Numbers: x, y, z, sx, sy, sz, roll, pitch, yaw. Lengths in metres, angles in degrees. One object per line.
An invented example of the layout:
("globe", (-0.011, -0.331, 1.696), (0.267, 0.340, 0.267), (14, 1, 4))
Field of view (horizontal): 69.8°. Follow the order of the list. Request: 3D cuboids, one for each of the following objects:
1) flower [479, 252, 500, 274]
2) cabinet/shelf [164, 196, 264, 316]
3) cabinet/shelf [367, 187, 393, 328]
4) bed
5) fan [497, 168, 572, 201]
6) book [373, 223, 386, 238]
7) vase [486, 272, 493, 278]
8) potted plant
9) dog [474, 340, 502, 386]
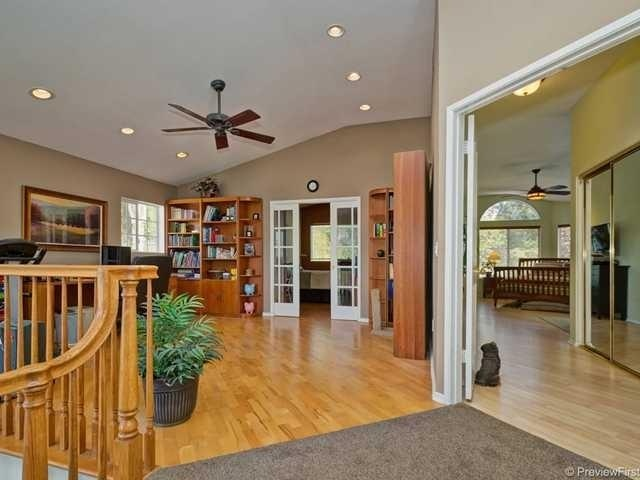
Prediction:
("flower", (3.917, 0.533, 10.479), (0.376, 0.577, 0.371), (13, -7, -28))
("cabinet/shelf", (-1.741, 0.290, 7.754), (2.223, 2.528, 0.661), (0, -2, 8))
("cabinet/shelf", (0.923, 0.240, 6.958), (0.335, 2.023, 1.001), (-1, 6, 2))
("bed", (4.586, 0.908, 9.696), (1.066, 0.860, 1.494), (-3, -7, 32))
("fan", (4.098, -1.064, 8.595), (1.191, 0.557, 1.050), (-4, -15, 33))
("book", (0.897, -0.109, 7.052), (0.188, 0.246, 0.265), (7, -8, -26))
("vase", (3.750, 0.767, 10.106), (0.111, 0.079, 0.108), (-2, -8, 22))
("potted plant", (-1.059, 1.075, 3.799), (0.672, 0.858, 0.626), (-3, -18, -19))
("dog", (1.590, 1.145, 4.313), (0.208, 0.397, 0.262), (2, 6, 25))
